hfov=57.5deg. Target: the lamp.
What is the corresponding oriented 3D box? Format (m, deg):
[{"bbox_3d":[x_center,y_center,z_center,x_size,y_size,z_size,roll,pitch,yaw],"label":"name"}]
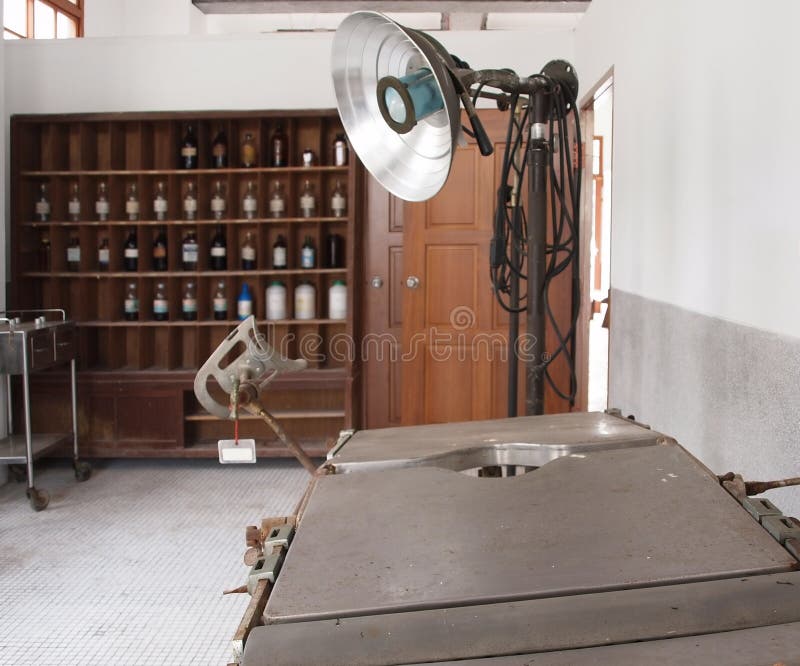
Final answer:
[{"bbox_3d":[0.151,-0.163,1.318,0.309,0.714,0.657,5,12,31],"label":"lamp"}]
